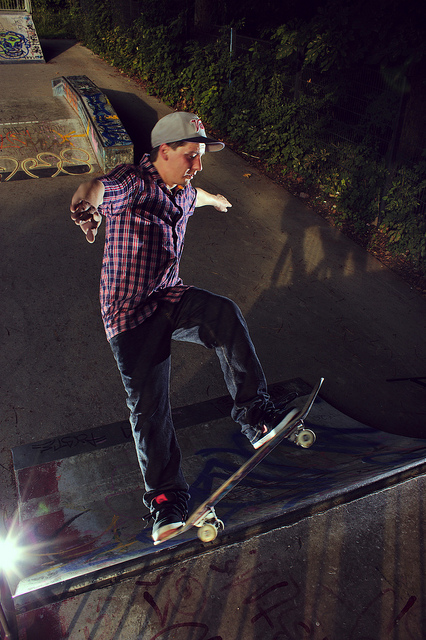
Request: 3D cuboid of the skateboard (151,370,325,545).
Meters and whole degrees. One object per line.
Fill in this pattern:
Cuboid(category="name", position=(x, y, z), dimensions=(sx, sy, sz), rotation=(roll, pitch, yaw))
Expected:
Cuboid(category="skateboard", position=(0.163, 0.892, 3.253), dimensions=(1.192, 0.282, 0.208), rotation=(-41, 64, -12))
